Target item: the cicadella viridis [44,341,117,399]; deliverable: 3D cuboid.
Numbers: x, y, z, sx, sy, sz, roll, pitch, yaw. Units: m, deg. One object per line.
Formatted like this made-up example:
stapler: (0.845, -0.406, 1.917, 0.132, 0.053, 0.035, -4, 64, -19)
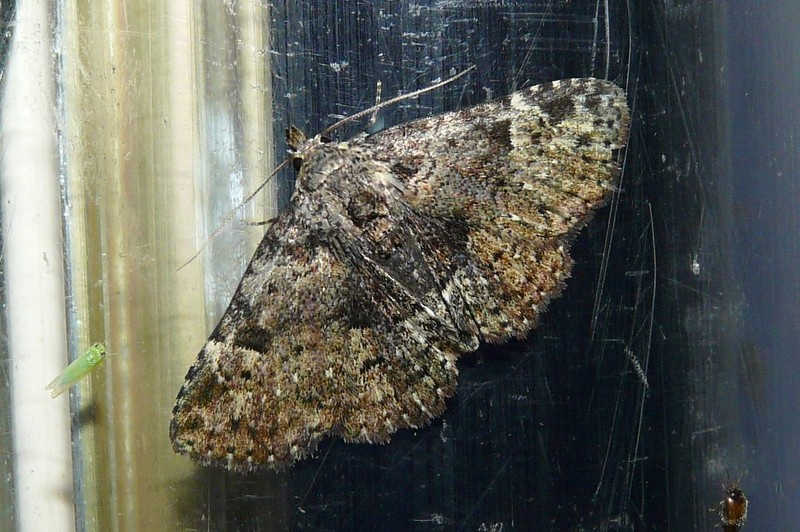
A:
cicadella viridis: (-1.643, 0.533, 7.332, 0.335, 0.221, 0.108, -15, 35, -17)
